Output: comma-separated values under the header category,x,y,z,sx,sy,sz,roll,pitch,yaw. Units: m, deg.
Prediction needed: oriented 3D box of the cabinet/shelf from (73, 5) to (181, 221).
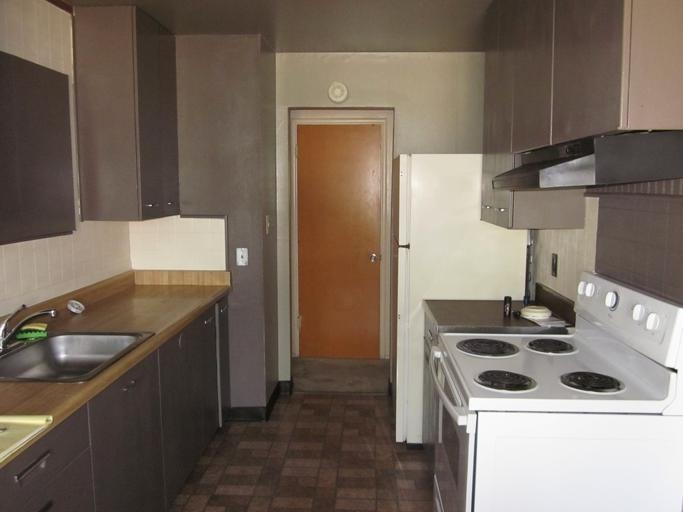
category,x,y,z,sx,sy,sz,roll,pitch,yaw
cabinet/shelf,-1.376,-0.873,3.546,0.427,1.283,0.605,1,12,3

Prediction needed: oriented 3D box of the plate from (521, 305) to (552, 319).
category,x,y,z,sx,sy,sz,roll,pitch,yaw
plate,1.123,0.331,3.216,0.175,0.061,0.134,5,13,21
